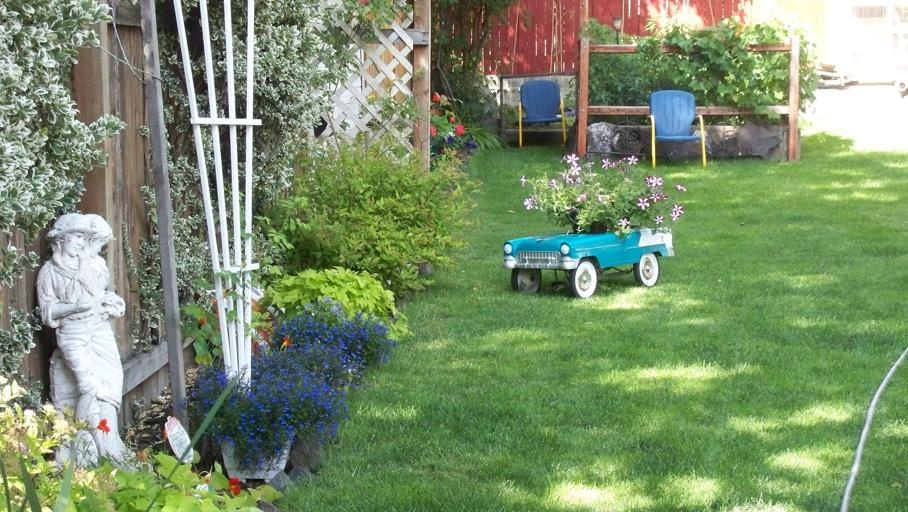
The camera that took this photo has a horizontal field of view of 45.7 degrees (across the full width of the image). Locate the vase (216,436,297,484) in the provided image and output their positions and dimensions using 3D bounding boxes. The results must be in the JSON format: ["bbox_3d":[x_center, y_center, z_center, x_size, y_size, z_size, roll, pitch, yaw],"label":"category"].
[{"bbox_3d":[-1.321,1.357,7.068,0.348,0.226,0.291,0,-1,8],"label":"vase"}]

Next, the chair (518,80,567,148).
[{"bbox_3d":[1.299,-2.218,16.334,0.828,1.321,0.950,-1,6,6],"label":"chair"}]

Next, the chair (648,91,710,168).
[{"bbox_3d":[2.999,-1.741,14.502,0.767,1.016,0.684,0,8,10],"label":"chair"}]

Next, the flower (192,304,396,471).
[{"bbox_3d":[-1.064,0.840,7.536,0.782,0.475,1.185,19,27,-3],"label":"flower"}]

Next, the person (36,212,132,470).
[{"bbox_3d":[-2.322,0.514,6.727,0.516,1.546,0.572,-4,9,-16],"label":"person"}]

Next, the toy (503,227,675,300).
[{"bbox_3d":[1.279,0.051,10.059,1.646,0.574,0.510,-6,10,-26],"label":"toy"}]
